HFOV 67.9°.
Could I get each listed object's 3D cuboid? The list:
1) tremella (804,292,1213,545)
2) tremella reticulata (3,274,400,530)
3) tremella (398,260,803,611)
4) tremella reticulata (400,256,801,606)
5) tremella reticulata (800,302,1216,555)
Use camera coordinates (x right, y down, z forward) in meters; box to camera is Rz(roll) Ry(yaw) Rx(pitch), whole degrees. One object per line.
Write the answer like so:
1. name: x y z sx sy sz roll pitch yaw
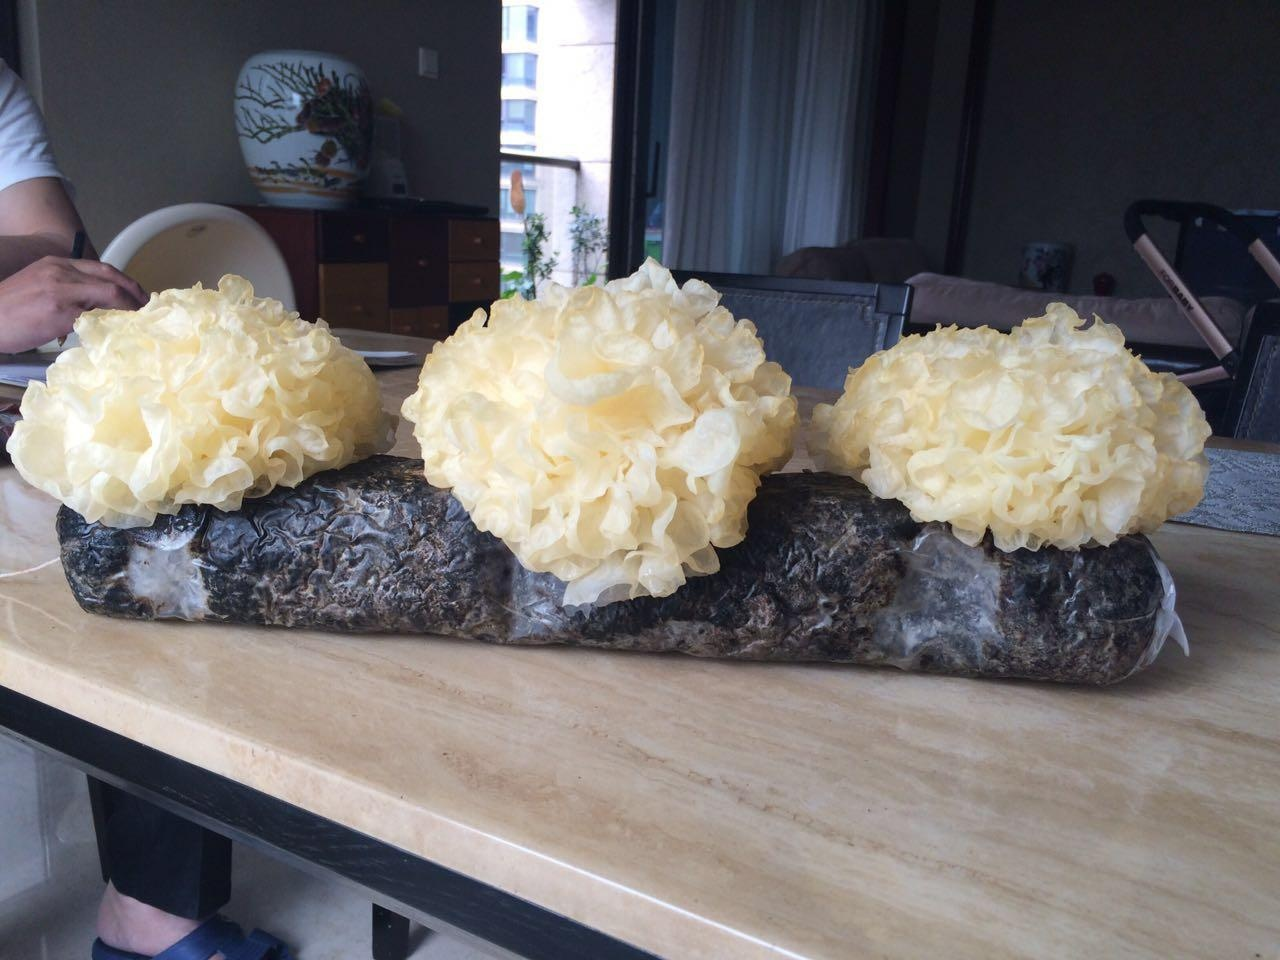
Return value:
1. tremella: 0.225 -0.040 0.579 0.181 0.088 0.163 -3 18 -22
2. tremella reticulata: -0.281 -0.035 0.637 0.191 0.101 0.181 -13 13 -25
3. tremella: -0.016 -0.035 0.617 0.223 0.198 0.202 -6 15 -34
4. tremella reticulata: -0.016 -0.038 0.620 0.223 0.199 0.202 -6 15 -34
5. tremella reticulata: 0.208 -0.051 0.644 0.179 0.141 0.279 7 13 25
